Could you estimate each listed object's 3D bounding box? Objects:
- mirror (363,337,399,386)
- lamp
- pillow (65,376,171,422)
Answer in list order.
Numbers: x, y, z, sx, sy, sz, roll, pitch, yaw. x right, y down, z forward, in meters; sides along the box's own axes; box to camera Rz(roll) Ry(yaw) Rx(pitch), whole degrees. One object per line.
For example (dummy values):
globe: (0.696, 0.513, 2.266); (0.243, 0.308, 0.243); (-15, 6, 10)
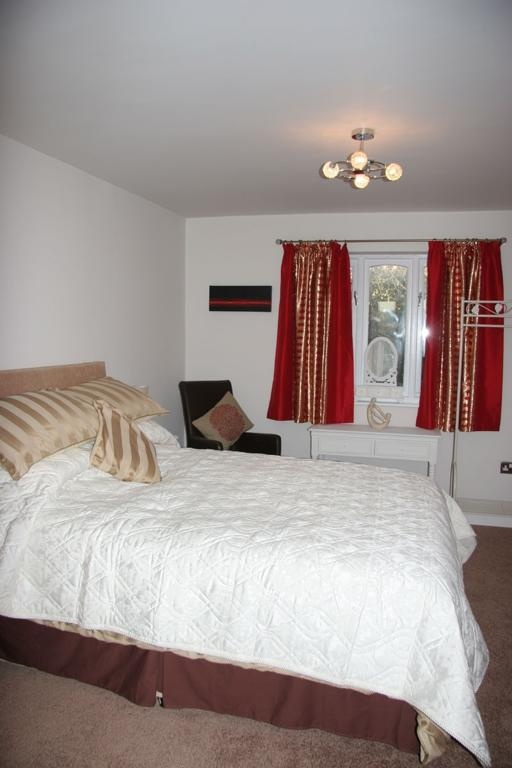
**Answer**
mirror: (1.068, -0.210, 4.615); (0.346, 0.511, 0.044); (5, 13, 22)
lamp: (0.482, -1.057, 2.513); (0.393, 0.267, 0.399); (1, -3, 7)
pillow: (-0.793, 0.060, 3.077); (0.246, 0.101, 0.377); (28, 3, 31)
